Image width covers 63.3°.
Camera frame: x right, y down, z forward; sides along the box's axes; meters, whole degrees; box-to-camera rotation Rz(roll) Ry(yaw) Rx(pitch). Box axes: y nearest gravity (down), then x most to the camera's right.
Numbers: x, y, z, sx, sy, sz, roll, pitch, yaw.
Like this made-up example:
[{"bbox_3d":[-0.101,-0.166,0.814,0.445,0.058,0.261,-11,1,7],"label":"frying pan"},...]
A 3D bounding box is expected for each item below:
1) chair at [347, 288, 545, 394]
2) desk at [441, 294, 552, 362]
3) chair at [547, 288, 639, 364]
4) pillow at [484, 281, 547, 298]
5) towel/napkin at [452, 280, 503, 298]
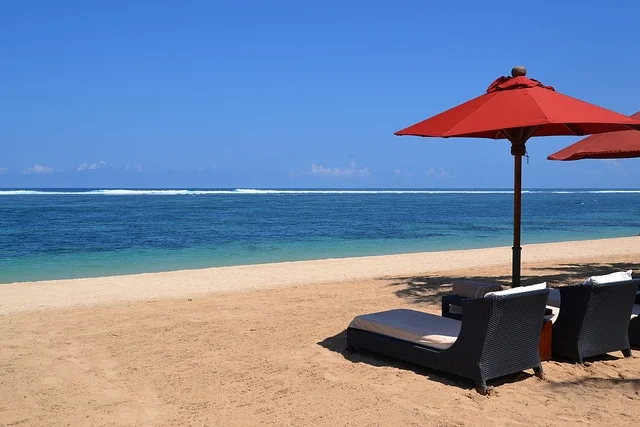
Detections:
[{"bbox_3d":[1.760,1.614,7.591,1.438,0.920,2.568,0,3,-44],"label":"chair"},{"bbox_3d":[2.819,1.974,9.120,1.702,1.172,1.215,13,-8,-42],"label":"desk"},{"bbox_3d":[4.063,1.532,7.567,1.097,1.131,0.438,-2,8,-9],"label":"chair"},{"bbox_3d":[2.617,1.006,6.860,0.723,0.045,0.226,-6,8,-9],"label":"pillow"},{"bbox_3d":[2.498,1.201,8.331,0.513,0.116,0.482,2,-4,-39],"label":"towel/napkin"}]
